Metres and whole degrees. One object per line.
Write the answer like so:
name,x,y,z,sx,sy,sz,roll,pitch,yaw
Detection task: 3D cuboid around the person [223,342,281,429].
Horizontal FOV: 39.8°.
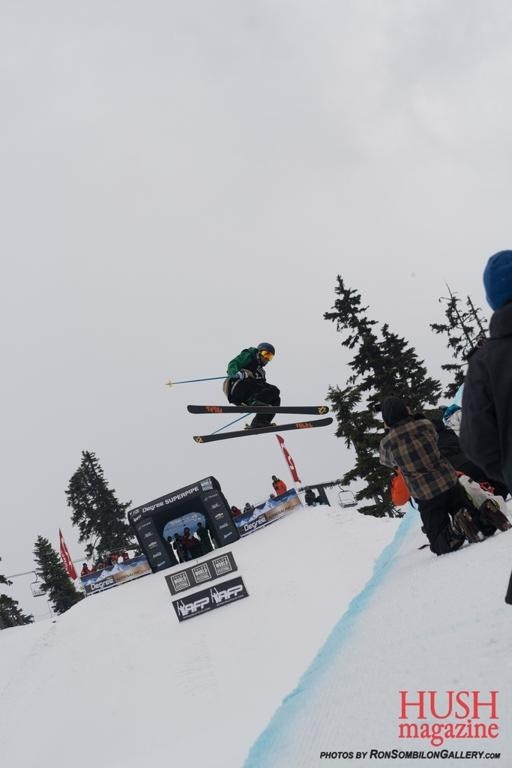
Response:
person,-0.063,-0.075,12.752,1.095,1.201,0.633,-25,-10,-5

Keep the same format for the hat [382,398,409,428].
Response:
hat,1.227,0.251,6.267,0.215,0.244,0.285,-19,4,-4

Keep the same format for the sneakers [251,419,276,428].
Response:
sneakers,0.130,0.726,12.824,0.449,0.181,0.138,-5,2,-1

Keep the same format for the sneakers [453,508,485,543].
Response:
sneakers,1.755,1.203,5.939,0.120,0.291,0.248,-21,-11,-27

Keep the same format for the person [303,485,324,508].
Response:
person,1.621,3.321,20.858,0.492,0.514,1.214,-25,-10,-2
